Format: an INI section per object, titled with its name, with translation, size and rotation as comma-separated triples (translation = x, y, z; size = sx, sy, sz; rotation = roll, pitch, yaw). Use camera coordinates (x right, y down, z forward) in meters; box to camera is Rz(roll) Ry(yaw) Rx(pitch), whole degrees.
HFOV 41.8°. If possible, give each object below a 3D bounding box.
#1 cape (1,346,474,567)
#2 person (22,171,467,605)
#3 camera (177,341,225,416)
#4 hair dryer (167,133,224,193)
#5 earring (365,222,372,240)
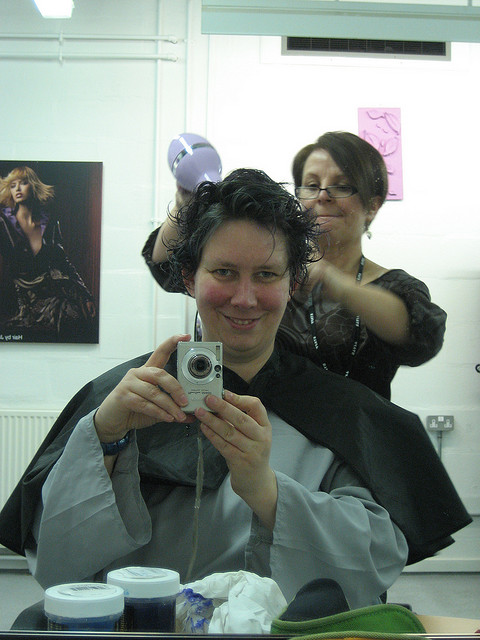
[cape]
translation = -0.006, 0.250, 1.168
size = 0.791, 0.403, 0.280
rotation = -4, -5, -5
[person]
translation = 0.002, 0.206, 1.101
size = 0.756, 0.807, 0.488
rotation = 2, -5, 3
[camera]
translation = -0.055, 0.078, 0.875
size = 0.077, 0.089, 0.064
rotation = 2, 10, -6
[hair dryer]
translation = -0.105, -0.361, 1.430
size = 0.116, 0.138, 0.071
rotation = -5, -5, 5
[earring]
translation = 0.332, -0.232, 1.629
size = 0.011, 0.039, 0.016
rotation = 0, -7, -45
